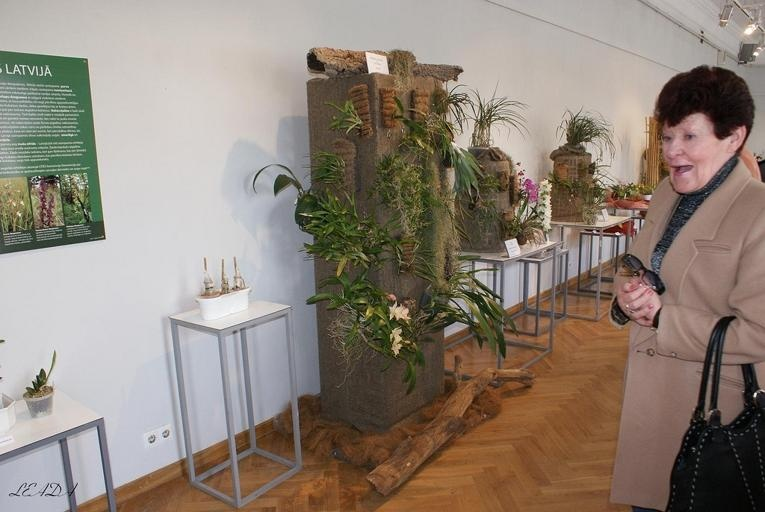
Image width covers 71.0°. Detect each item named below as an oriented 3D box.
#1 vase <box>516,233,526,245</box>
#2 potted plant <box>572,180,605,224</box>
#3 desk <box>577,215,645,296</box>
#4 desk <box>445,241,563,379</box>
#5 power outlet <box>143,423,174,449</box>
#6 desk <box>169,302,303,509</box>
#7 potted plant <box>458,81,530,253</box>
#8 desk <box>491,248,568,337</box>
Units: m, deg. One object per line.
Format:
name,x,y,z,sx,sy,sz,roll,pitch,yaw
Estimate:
vase,1.203,-0.148,4.669,0.088,0.102,0.091,6,5,38
potted plant,2.249,-0.607,5.841,0.184,0.467,0.539,3,8,39
desk,2.216,-0.027,5.368,0.333,0.833,0.945,5,11,33
desk,1.374,0.465,5.526,0.976,1.362,1.914,5,7,37
power outlet,-1.398,1.100,3.308,0.023,0.105,0.172,9,15,34
desk,-0.874,0.876,3.371,0.769,1.176,0.622,-6,7,-28
potted plant,0.934,-0.827,4.762,0.504,1.511,1.434,-2,6,10
desk,1.429,0.370,5.303,0.398,0.597,0.801,6,8,35
